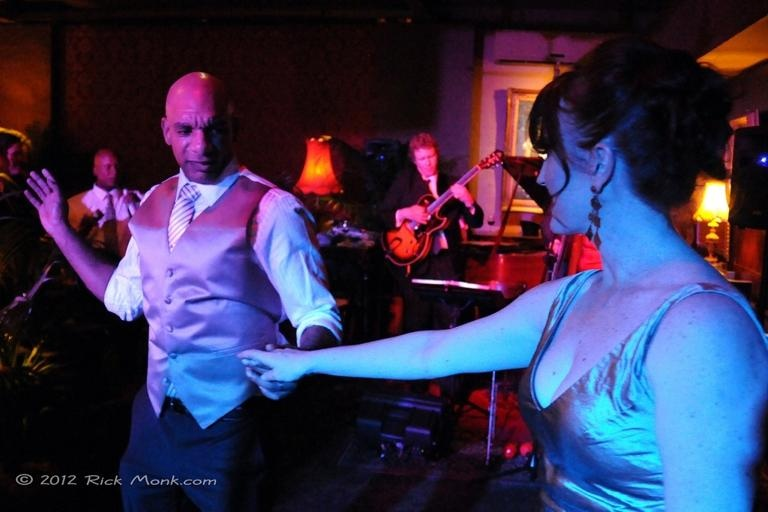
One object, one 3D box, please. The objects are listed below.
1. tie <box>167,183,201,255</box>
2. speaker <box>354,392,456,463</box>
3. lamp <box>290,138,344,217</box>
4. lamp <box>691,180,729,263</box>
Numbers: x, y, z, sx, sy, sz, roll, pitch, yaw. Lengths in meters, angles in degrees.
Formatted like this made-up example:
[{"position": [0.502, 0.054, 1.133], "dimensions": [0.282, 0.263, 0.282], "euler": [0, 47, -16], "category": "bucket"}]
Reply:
[{"position": [-0.917, -0.176, 3.330], "dimensions": [0.099, 0.318, 0.041], "euler": [12, -26, 13], "category": "tie"}, {"position": [0.113, 1.115, 4.912], "dimensions": [0.604, 0.368, 0.440], "euler": [1, -8, 7], "category": "speaker"}, {"position": [-0.658, -0.815, 7.282], "dimensions": [0.557, 0.693, 0.534], "euler": [4, 14, 7], "category": "lamp"}, {"position": [2.634, -0.374, 5.856], "dimensions": [0.263, 0.516, 0.253], "euler": [3, 34, 25], "category": "lamp"}]
